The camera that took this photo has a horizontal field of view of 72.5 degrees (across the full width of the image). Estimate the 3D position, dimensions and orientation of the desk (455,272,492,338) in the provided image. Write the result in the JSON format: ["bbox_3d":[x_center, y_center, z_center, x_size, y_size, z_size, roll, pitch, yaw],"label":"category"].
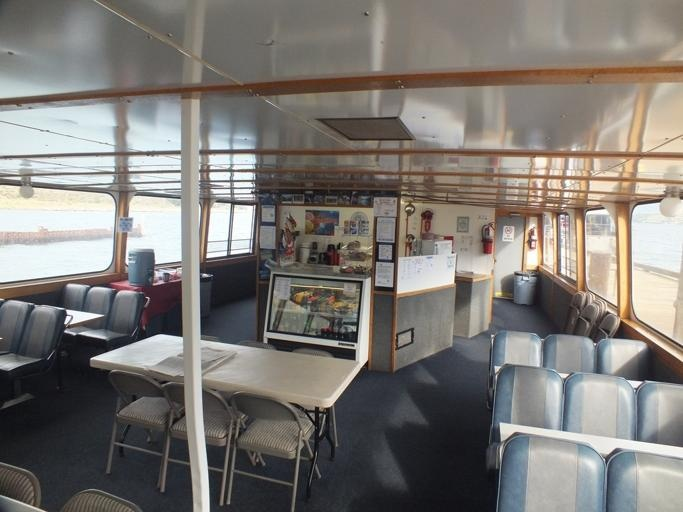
[{"bbox_3d":[2.677,1.046,10.223,0.778,1.234,1.316,4,3,34],"label":"desk"}]

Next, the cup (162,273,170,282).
[{"bbox_3d":[-3.432,0.416,9.241,0.134,0.163,0.160,0,-2,-6],"label":"cup"}]

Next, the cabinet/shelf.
[{"bbox_3d":[-0.366,0.925,6.934,1.480,1.360,0.581,4,-4,16],"label":"cabinet/shelf"}]

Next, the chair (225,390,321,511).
[{"bbox_3d":[-0.722,1.831,4.740,0.802,1.140,0.907,2,4,1],"label":"chair"}]

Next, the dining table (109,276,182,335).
[{"bbox_3d":[-3.661,0.799,9.082,1.829,0.896,1.224,7,11,35],"label":"dining table"}]

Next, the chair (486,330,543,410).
[{"bbox_3d":[2.091,1.359,5.870,0.865,1.111,0.937,1,-3,11],"label":"chair"}]

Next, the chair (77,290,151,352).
[{"bbox_3d":[-3.503,1.004,7.473,0.737,0.916,0.959,5,-2,23],"label":"chair"}]

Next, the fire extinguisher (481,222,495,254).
[{"bbox_3d":[3.446,-0.402,11.168,0.284,0.757,0.153,3,5,21],"label":"fire extinguisher"}]

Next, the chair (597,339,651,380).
[{"bbox_3d":[3.233,1.218,5.390,0.445,0.440,0.230,0,-8,6],"label":"chair"}]

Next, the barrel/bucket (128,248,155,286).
[{"bbox_3d":[-3.768,0.220,8.777,0.454,0.686,0.265,0,4,-15],"label":"barrel/bucket"}]

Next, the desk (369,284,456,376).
[{"bbox_3d":[1.117,1.250,7.836,1.457,0.874,0.327,-4,5,-42],"label":"desk"}]
